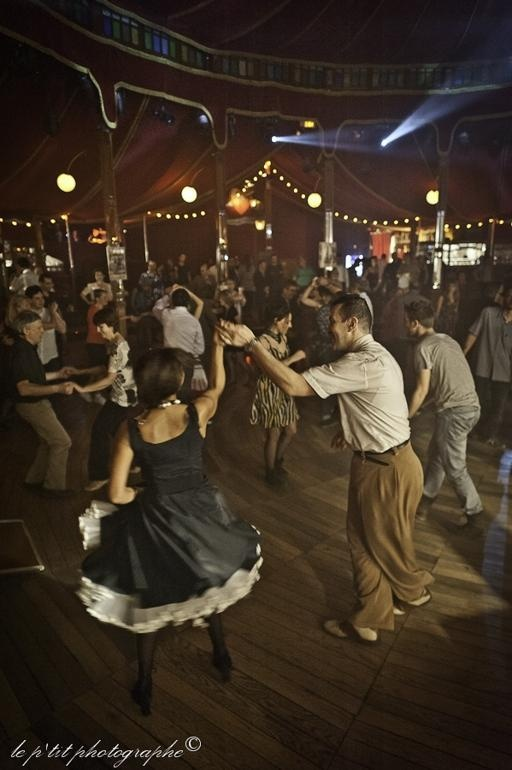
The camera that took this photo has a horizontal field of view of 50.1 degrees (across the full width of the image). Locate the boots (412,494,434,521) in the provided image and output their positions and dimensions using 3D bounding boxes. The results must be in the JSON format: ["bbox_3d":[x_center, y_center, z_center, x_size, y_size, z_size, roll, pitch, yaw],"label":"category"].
[{"bbox_3d":[1.251,0.910,4.093,0.117,0.185,0.196,10,4,7],"label":"boots"}]
